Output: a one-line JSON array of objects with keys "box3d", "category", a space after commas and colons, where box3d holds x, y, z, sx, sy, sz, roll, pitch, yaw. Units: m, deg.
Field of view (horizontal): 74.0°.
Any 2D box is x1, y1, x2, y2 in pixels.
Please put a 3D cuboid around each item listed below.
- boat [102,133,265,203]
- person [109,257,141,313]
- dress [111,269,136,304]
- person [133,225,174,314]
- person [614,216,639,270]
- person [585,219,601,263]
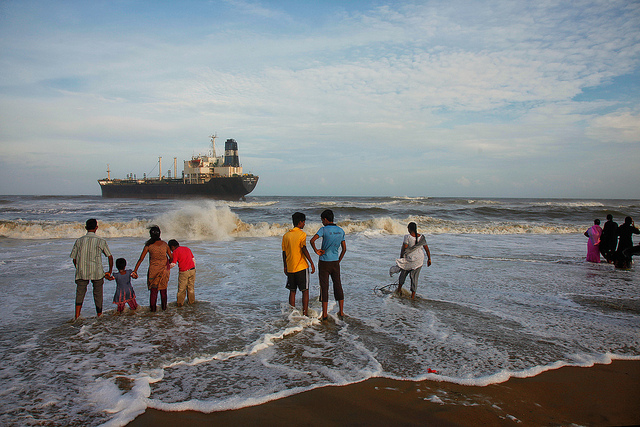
[{"box3d": [-22.778, -6.413, 66.491, 33.876, 8.373, 7.034, 2, 6, 39], "category": "boat"}, {"box3d": [-3.898, 1.407, 8.487, 0.508, 1.094, 0.769, -4, 6, -22], "category": "person"}, {"box3d": [-3.865, 1.463, 8.340, 0.374, 0.678, 0.364, -4, 6, -23], "category": "dress"}, {"box3d": [-3.458, 1.092, 8.866, 0.719, 1.712, 1.246, -4, 6, -22], "category": "person"}, {"box3d": [9.212, 0.880, 12.814, 0.588, 1.573, 0.669, 2, 7, 32], "category": "person"}, {"box3d": [8.625, 0.878, 13.511, 0.429, 1.399, 0.768, 2, 7, 32], "category": "person"}]
